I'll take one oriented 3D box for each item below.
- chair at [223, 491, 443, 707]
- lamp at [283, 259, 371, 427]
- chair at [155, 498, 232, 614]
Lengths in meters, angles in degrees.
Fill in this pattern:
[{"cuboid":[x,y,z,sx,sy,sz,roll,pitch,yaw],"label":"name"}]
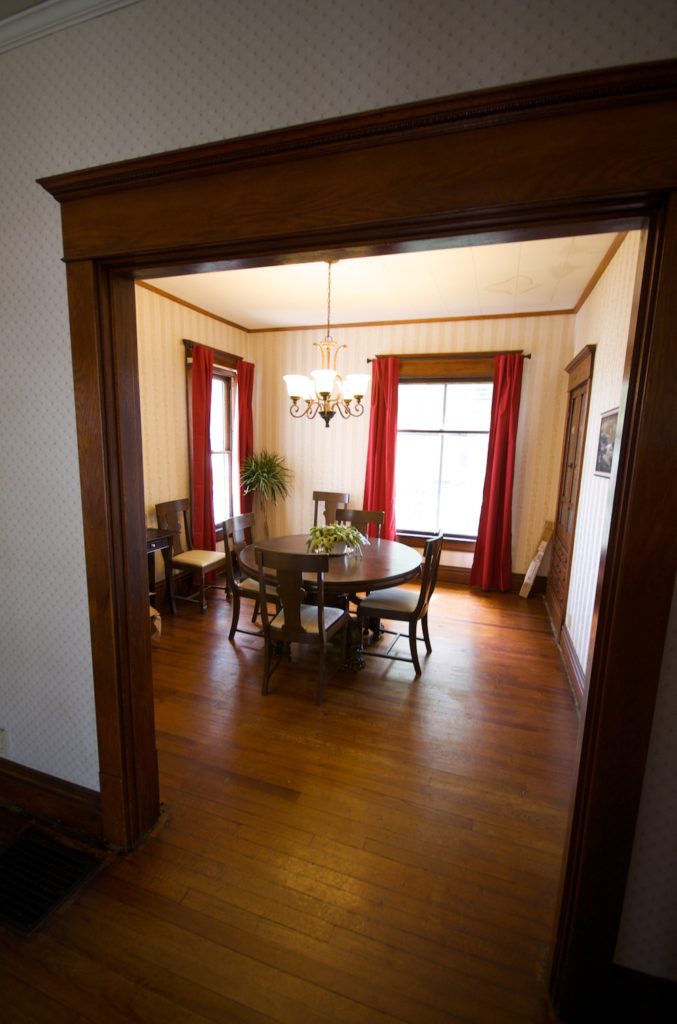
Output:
[{"cuboid":[-0.114,0.410,3.539,0.853,0.646,0.948,4,20,10],"label":"chair"},{"cuboid":[-0.067,-1.073,4.161,0.427,1.052,0.435,9,11,44],"label":"lamp"},{"cuboid":[-1.041,0.282,4.884,0.391,0.771,0.412,3,9,24],"label":"chair"}]
